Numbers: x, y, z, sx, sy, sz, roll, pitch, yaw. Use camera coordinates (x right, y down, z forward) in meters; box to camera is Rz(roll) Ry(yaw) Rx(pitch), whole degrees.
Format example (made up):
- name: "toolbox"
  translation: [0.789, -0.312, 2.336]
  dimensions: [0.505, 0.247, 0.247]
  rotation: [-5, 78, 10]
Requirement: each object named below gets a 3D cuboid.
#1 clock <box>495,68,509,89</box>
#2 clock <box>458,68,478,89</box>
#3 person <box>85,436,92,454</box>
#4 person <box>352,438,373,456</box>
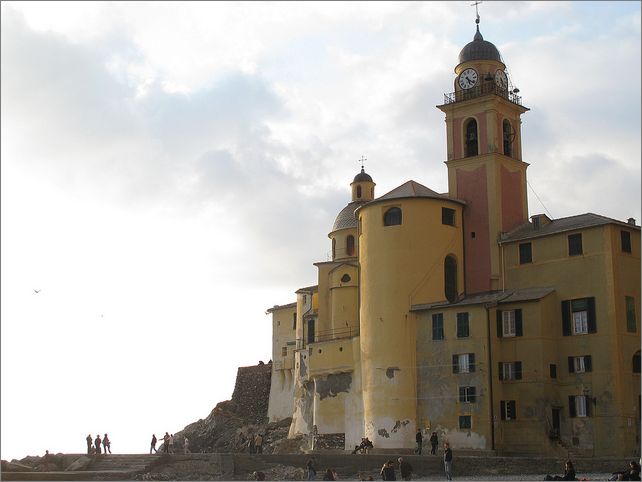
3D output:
- name: "clock"
  translation: [15.336, -13.935, 76.131]
  dimensions: [0.356, 1.710, 1.619]
  rotation: [-21, -30, 41]
- name: "clock"
  translation: [12.557, -13.977, 76.255]
  dimensions: [1.771, 1.958, 0.181]
  rotation: [-4, -6, 40]
- name: "person"
  translation: [-20.324, 17.889, 77.994]
  dimensions: [0.403, 1.615, 1.027]
  rotation: [4, -23, -14]
- name: "person"
  translation: [3.181, 16.052, 69.323]
  dimensions: [1.411, 2.114, 1.046]
  rotation: [8, -13, -3]
